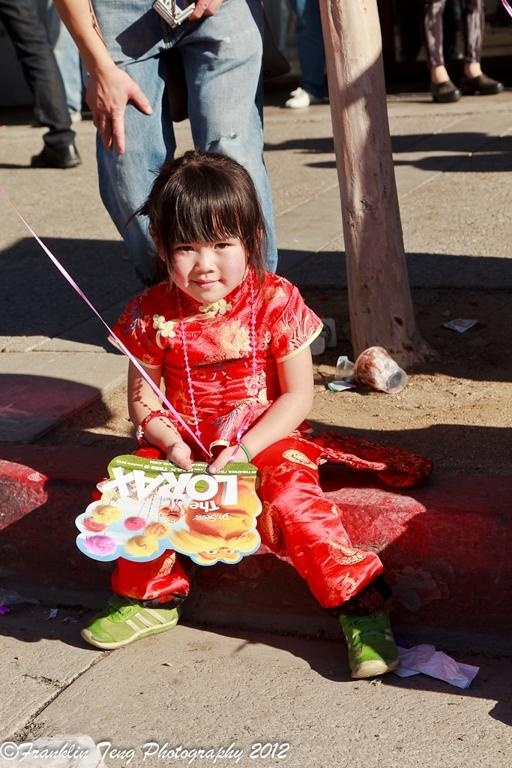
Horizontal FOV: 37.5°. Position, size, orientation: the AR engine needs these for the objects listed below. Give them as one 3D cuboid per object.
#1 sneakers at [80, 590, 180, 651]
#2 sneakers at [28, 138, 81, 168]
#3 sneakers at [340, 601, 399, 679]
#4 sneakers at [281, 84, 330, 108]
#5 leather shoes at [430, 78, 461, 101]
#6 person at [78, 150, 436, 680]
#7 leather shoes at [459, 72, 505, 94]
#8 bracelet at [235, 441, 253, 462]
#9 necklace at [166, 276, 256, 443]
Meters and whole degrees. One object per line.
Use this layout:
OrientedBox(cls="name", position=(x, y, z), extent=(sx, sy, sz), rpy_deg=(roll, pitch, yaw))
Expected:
OrientedBox(cls="sneakers", position=(-0.256, 0.490, 1.587), extent=(0.234, 0.096, 0.077), rpy_deg=(-5, 11, -27))
OrientedBox(cls="sneakers", position=(-1.579, -1.838, 6.043), extent=(0.471, 0.200, 0.184), rpy_deg=(8, 19, 43))
OrientedBox(cls="sneakers", position=(0.203, 0.458, 1.357), extent=(0.069, 0.053, 0.140), rpy_deg=(-17, 18, 3))
OrientedBox(cls="sneakers", position=(0.559, -2.985, 7.881), extent=(0.605, 0.218, 0.205), rpy_deg=(-11, 17, -32))
OrientedBox(cls="leather shoes", position=(1.774, -2.721, 7.036), extent=(0.139, 0.130, 0.312), rpy_deg=(-13, 17, -11))
OrientedBox(cls="person", position=(-0.030, 0.023, 1.531), extent=(0.684, 0.947, 0.679), rpy_deg=(-6, 22, 14))
OrientedBox(cls="leather shoes", position=(2.166, -2.841, 7.161), extent=(0.522, 0.194, 0.185), rpy_deg=(7, 27, 30))
OrientedBox(cls="bracelet", position=(-0.024, 0.138, 1.531), extent=(0.014, 0.031, 0.034), rpy_deg=(-33, 60, 5))
OrientedBox(cls="necklace", position=(-0.100, -0.069, 1.684), extent=(0.149, 0.399, 0.032), rpy_deg=(-1, 18, 14))
